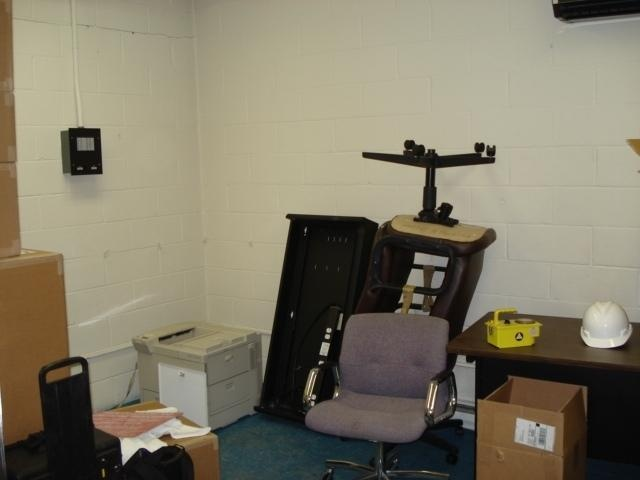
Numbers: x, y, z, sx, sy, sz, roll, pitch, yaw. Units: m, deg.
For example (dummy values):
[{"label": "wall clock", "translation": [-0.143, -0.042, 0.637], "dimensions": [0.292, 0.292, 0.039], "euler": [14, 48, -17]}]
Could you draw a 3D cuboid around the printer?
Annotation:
[{"label": "printer", "translation": [-0.860, 0.910, 3.812], "dimensions": [0.702, 0.664, 0.738], "euler": [2, 6, 29]}]

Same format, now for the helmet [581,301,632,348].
[{"label": "helmet", "translation": [1.472, 0.424, 2.744], "dimensions": [0.192, 0.143, 0.252], "euler": [-2, 14, 32]}]

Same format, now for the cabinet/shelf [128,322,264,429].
[{"label": "cabinet/shelf", "translation": [-0.876, 0.896, 3.819], "dimensions": [0.699, 0.673, 0.737], "euler": [2, 5, 29]}]
